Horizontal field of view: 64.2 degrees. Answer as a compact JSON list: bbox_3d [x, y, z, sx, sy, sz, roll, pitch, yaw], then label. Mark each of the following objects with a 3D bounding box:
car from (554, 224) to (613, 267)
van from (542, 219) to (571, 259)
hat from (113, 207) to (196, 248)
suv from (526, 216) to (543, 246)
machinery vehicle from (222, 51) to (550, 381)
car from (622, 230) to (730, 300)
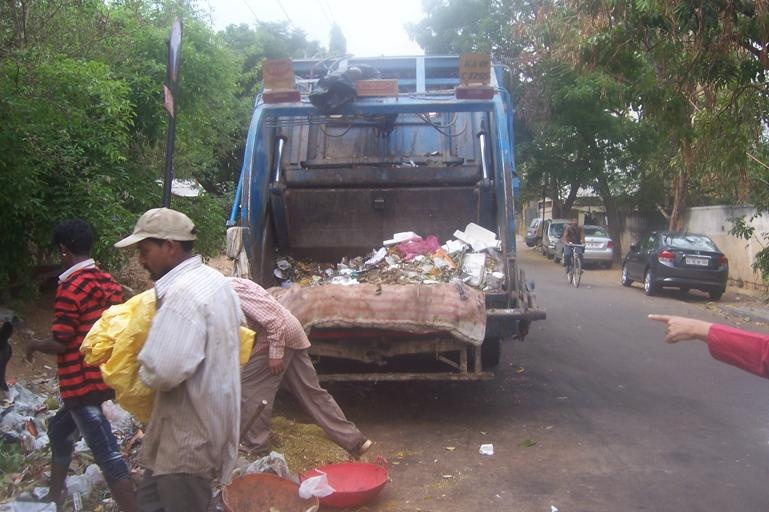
[{"bbox_3d":[7.496,-0.370,22.749,1.292,1.277,3.181,1,9,5],"label":"car"},{"bbox_3d":[7.434,-1.022,25.619,0.966,1.193,2.256,-2,24,31],"label":"van"},{"bbox_3d":[-1.649,-0.208,4.464,0.558,0.312,0.381,2,0,-7],"label":"hat"},{"bbox_3d":[7.852,-1.192,32.224,0.794,0.832,1.835,2,14,13],"label":"suv"},{"bbox_3d":[-0.089,-0.569,9.220,3.819,4.381,6.285,0,5,-3],"label":"machinery vehicle"},{"bbox_3d":[7.092,0.202,15.339,1.481,1.591,2.335,-2,8,-20],"label":"car"}]
